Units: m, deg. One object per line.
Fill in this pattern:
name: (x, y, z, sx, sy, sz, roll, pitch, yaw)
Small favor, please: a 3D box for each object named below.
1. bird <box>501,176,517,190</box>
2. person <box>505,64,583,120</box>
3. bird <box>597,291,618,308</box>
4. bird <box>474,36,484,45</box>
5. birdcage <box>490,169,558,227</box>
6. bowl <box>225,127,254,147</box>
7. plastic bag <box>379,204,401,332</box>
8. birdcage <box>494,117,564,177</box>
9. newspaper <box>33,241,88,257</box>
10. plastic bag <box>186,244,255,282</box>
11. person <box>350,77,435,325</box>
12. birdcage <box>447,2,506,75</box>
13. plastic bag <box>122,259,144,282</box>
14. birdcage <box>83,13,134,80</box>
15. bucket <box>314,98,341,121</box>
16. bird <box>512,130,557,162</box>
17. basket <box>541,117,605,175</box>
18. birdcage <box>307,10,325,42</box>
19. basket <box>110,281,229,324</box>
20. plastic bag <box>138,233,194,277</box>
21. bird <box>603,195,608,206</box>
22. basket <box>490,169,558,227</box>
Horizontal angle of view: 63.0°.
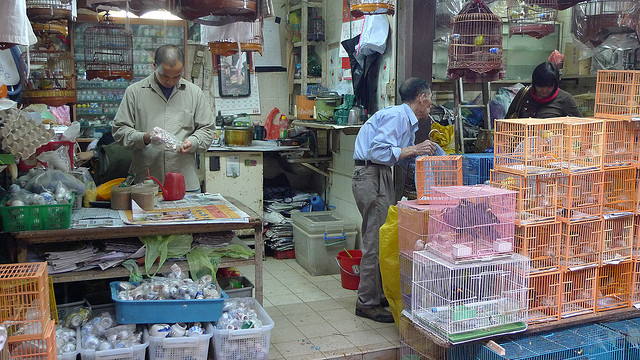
bird: (1.696, 0.026, 4.710, 0.072, 0.106, 0.160, -6, 12, -15)
person: (2.600, -1.033, 6.098, 0.818, 0.620, 0.379, 3, 13, 25)
bird: (2.695, 1.131, 4.905, 0.132, 0.131, 0.237, -4, -20, 4)
bird: (1.896, -1.667, 6.223, 0.091, 0.079, 0.022, 2, -4, 39)
birdcage: (1.860, 0.107, 4.816, 0.663, 0.540, 0.473, -1, 9, -13)
bowl: (-1.185, -0.632, 7.686, 0.335, 0.200, 0.325, 1, 1, 0)
plastic bag: (0.742, 0.881, 5.469, 0.202, 1.181, 0.251, 6, 0, -5)
birdcage: (1.926, -0.311, 4.776, 0.520, 0.372, 0.480, -5, 9, -27)
newspaper: (-2.412, 0.644, 4.853, 0.464, 0.104, 0.156, -5, 12, -14)
plastic bag: (-0.973, 0.795, 5.120, 0.617, 0.299, 0.254, -9, 13, -28)
person: (0.773, 0.248, 5.717, 0.894, 2.645, 0.563, -3, 12, 3)
birdcage: (1.859, -1.655, 6.243, 0.627, 0.701, 0.377, 0, 13, 15)
plastic bag: (-1.743, 0.846, 4.838, 0.150, 0.188, 0.077, -26, -5, -24)
birdcage: (-3.083, -1.932, 7.558, 0.692, 0.963, 0.700, -8, 13, -20)
bucket: (0.093, -0.999, 7.454, 0.348, 0.295, 0.340, 0, 4, 0)
bird: (1.903, -0.311, 4.636, 0.230, 0.204, 0.125, 0, 6, 36)
basket: (2.328, -0.346, 4.849, 0.660, 0.561, 0.457, -1, 8, -8)
birdcage: (-0.067, -2.365, 8.210, 0.285, 0.376, 0.138, -3, 12, 0)
basket: (-1.361, 1.160, 4.608, 0.660, 0.432, 0.452, -2, 7, -19)
plastic bag: (-1.453, 0.703, 4.994, 0.476, 0.365, 0.140, -7, 13, -18)
bird: (2.660, 0.203, 4.856, 0.034, 0.106, 0.122, 5, 14, 32)
basket: (1.836, 0.079, 4.807, 0.682, 0.555, 0.469, -1, 9, -11)
